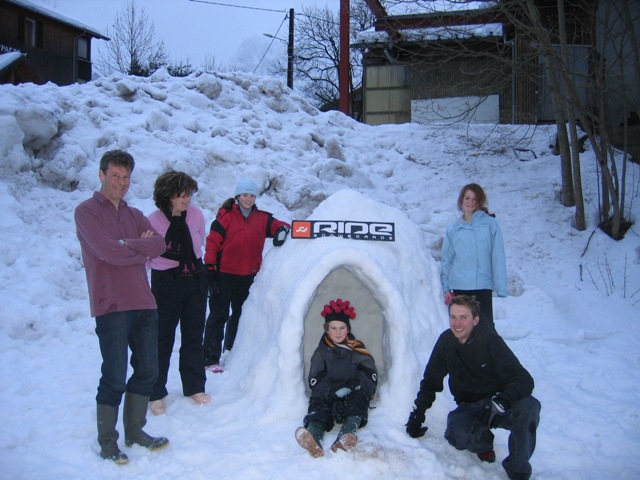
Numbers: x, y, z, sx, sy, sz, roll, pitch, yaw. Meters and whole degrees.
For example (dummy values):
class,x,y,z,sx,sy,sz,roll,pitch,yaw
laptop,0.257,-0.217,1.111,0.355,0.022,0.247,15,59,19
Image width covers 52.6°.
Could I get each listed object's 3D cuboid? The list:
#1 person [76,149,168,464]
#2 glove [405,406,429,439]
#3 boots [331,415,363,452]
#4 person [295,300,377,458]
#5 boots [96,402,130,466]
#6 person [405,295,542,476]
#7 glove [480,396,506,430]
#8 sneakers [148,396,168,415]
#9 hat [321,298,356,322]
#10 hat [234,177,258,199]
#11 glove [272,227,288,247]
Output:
class,x,y,z,sx,sy,sz,roll,pitch,yaw
person,-2.043,0.650,6.634,0.878,3.118,0.603,0,4,-22
glove,1.007,1.954,6.897,0.197,0.302,0.289,11,-8,3
boots,0.289,2.021,6.726,0.144,0.434,0.303,26,24,3
person,0.206,1.505,7.083,0.683,1.183,1.675,0,16,5
boots,-2.104,1.938,6.540,0.389,0.574,0.211,4,4,28
person,1.590,1.621,6.962,1.131,1.486,0.793,-17,-25,23
glove,1.789,1.760,6.634,0.227,0.320,0.115,3,4,15
sneakers,-1.818,1.845,7.171,0.176,0.213,0.475,2,-15,-20
hat,0.203,0.804,7.395,0.281,0.247,0.294,2,-3,3
hat,-0.963,-0.653,8.244,0.290,0.255,0.225,7,2,21
glove,-0.501,-0.032,8.217,0.110,0.307,0.127,28,-9,-6
